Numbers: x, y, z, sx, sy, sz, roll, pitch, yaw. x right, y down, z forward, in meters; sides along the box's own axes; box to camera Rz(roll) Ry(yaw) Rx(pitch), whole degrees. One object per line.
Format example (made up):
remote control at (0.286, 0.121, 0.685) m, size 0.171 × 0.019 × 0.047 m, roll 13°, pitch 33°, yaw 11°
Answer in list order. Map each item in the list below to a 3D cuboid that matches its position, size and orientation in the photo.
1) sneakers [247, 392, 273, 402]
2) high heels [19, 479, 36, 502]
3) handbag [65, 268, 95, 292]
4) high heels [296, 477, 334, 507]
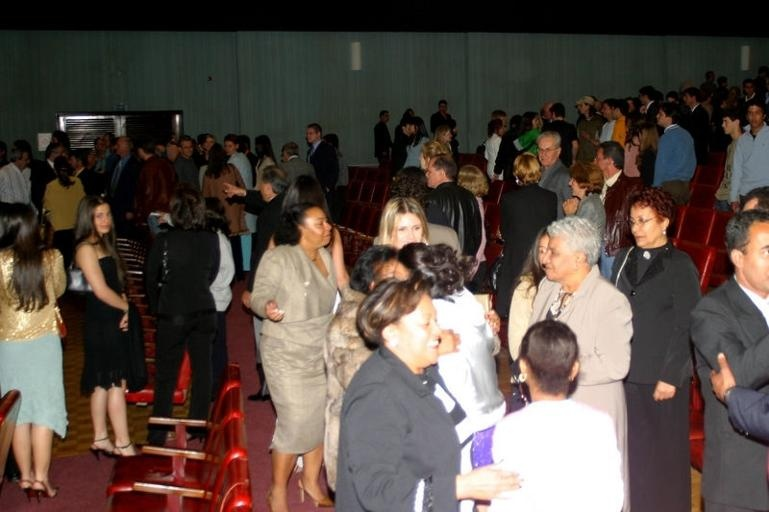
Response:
sneakers at (-1.272, 1.416, 6.221) m, size 0.238 × 0.100 × 0.119 m, roll 6°, pitch 11°, yaw 35°
high heels at (-2.728, 1.805, 4.706) m, size 0.065 × 0.197 × 0.083 m, roll -2°, pitch 32°, yaw -2°
handbag at (-2.372, 0.190, 4.903) m, size 0.133 × 0.229 × 0.230 m, roll -7°, pitch -14°, yaw 35°
high heels at (-0.519, 1.781, 4.656) m, size 0.228 × 0.225 × 0.368 m, roll -3°, pitch 9°, yaw -14°
